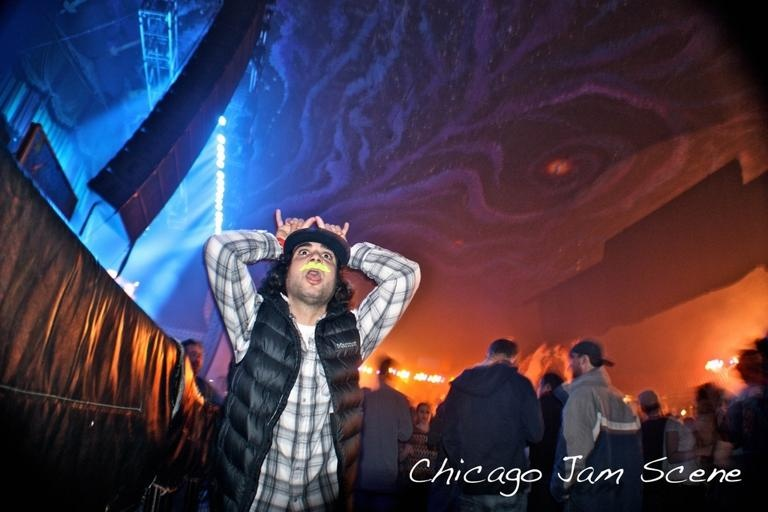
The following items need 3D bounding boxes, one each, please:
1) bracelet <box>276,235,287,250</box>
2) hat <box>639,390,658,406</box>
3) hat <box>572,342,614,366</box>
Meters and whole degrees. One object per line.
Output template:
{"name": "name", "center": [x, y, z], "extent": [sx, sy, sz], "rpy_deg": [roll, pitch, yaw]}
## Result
{"name": "bracelet", "center": [-1.126, -0.147, 5.123], "extent": [0.097, 0.137, 0.040], "rpy_deg": [1, -9, -32]}
{"name": "hat", "center": [4.152, 2.227, 7.364], "extent": [0.244, 0.134, 0.251], "rpy_deg": [-10, -5, 37]}
{"name": "hat", "center": [2.989, 1.379, 6.693], "extent": [0.474, 0.256, 0.348], "rpy_deg": [10, -18, 39]}
